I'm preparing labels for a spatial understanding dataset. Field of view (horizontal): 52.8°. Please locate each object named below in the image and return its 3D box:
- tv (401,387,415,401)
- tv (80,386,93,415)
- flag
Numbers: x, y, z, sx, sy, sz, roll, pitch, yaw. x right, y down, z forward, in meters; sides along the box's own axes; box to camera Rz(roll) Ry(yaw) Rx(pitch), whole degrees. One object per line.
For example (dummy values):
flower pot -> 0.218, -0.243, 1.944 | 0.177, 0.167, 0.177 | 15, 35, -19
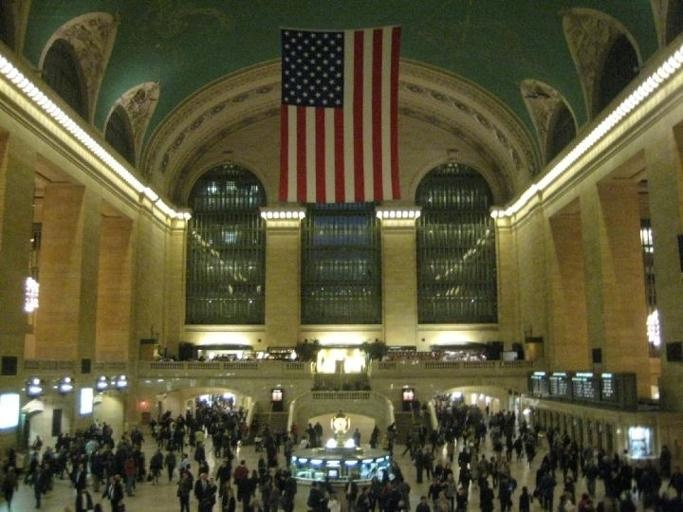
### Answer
tv -> 3.506, 7.367, 36.806 | 0.914, 0.933, 0.513 | 1, -5, 4
tv -> -11.697, 6.604, 31.498 | 0.141, 1.443, 1.285 | -6, -9, 20
flag -> -0.107, -5.831, 28.410 | 4.684, 6.799, 2.130 | -1, -17, 1
